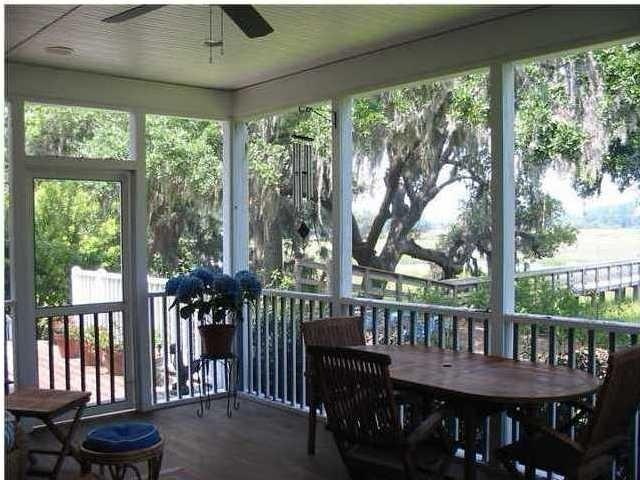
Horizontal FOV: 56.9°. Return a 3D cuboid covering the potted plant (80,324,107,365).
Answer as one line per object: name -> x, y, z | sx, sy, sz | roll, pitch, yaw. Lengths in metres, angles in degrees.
potted plant -> -2.312, 1.060, 5.973 | 0.360, 0.464, 0.321 | 4, -8, -33

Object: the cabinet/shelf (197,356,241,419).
cabinet/shelf -> -1.102, 1.547, 6.345 | 0.494, 0.622, 0.534 | -9, -8, 27

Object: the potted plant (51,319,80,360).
potted plant -> -2.528, 0.985, 5.827 | 0.313, 0.372, 0.311 | -2, -5, 15

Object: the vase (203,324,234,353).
vase -> -1.050, 1.027, 6.104 | 0.276, 0.212, 0.295 | -1, -10, 5
